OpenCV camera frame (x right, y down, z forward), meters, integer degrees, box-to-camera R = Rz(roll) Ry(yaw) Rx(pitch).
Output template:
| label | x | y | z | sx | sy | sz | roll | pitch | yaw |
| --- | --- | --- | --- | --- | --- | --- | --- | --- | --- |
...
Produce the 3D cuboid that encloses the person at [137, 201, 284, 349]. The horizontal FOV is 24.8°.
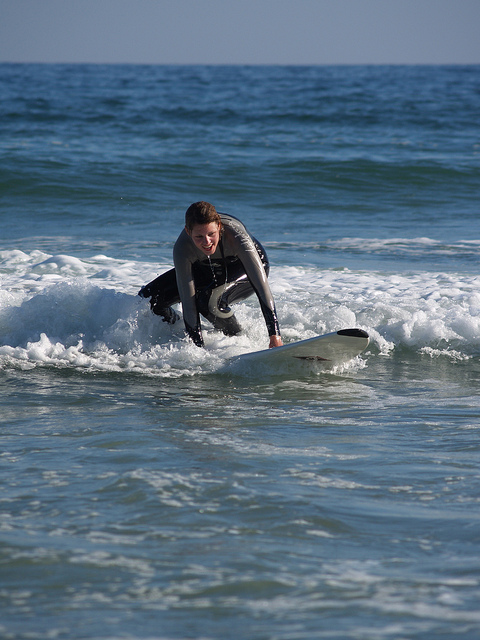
| label | x | y | z | sx | sy | sz | roll | pitch | yaw |
| --- | --- | --- | --- | --- | --- | --- | --- | --- | --- |
| person | -0.174 | -0.316 | 7.229 | 0.780 | 1.046 | 1.385 | 1 | 13 | -9 |
